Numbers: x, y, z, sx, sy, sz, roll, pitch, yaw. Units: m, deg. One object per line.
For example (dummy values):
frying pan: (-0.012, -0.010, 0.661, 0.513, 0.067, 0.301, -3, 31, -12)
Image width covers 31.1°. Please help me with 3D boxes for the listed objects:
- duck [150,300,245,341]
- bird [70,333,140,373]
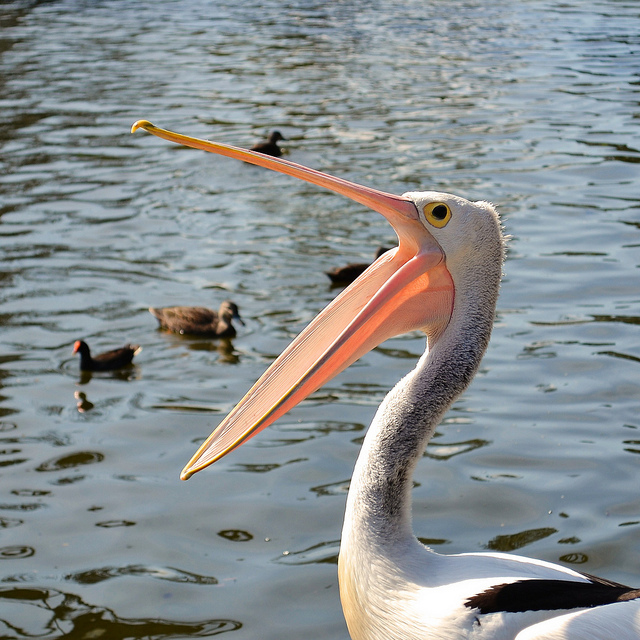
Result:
duck: (-0.983, 0.029, 9.474, 1.042, 0.254, 0.787, 0, 13, -7)
bird: (-1.720, 0.290, 8.954, 0.591, 0.260, 0.252, -4, -4, -11)
